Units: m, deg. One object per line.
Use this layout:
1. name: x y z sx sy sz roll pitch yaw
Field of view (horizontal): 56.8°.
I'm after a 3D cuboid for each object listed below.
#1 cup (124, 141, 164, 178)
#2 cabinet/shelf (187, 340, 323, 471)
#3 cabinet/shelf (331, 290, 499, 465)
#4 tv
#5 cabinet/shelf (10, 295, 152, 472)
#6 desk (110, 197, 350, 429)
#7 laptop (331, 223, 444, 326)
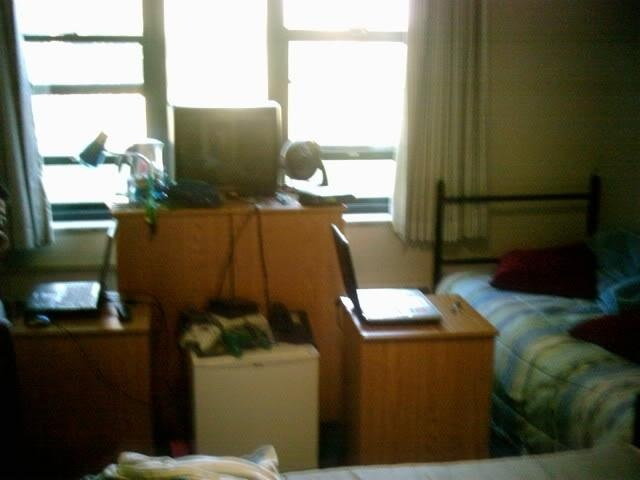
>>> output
1. cup: -0.783 -0.365 2.651 0.159 0.145 0.226 -5 15 -17
2. cabinet/shelf: -0.249 0.634 2.555 0.590 0.633 0.431 -1 10 -7
3. cabinet/shelf: 0.384 0.545 2.587 0.582 0.627 0.598 -1 15 0
4. tv: -0.441 -0.409 2.925 0.431 0.362 0.436 -1 6 -6
5. cabinet/shelf: -0.960 0.567 2.314 0.523 0.788 0.408 -2 19 -10
6. desk: -0.531 0.483 2.748 0.676 1.131 1.151 -16 -10 40
7. laptop: 0.265 0.050 2.465 0.357 0.311 0.487 -3 9 -8
